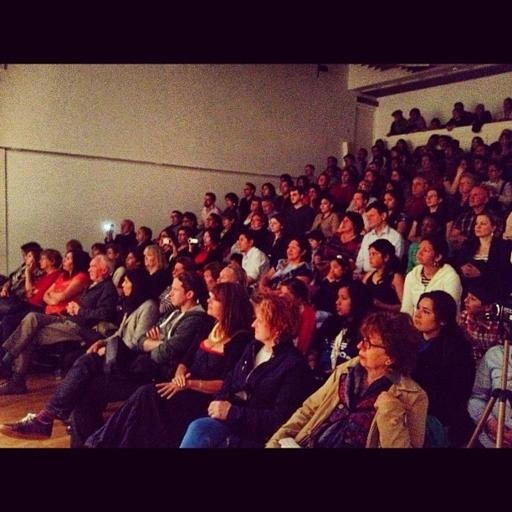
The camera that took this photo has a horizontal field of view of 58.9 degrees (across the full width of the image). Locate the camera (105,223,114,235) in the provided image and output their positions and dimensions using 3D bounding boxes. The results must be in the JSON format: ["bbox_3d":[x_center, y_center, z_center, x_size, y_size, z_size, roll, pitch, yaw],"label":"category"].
[{"bbox_3d":[-1.446,-0.274,4.470,0.081,0.092,0.140,-7,16,-42],"label":"camera"}]
